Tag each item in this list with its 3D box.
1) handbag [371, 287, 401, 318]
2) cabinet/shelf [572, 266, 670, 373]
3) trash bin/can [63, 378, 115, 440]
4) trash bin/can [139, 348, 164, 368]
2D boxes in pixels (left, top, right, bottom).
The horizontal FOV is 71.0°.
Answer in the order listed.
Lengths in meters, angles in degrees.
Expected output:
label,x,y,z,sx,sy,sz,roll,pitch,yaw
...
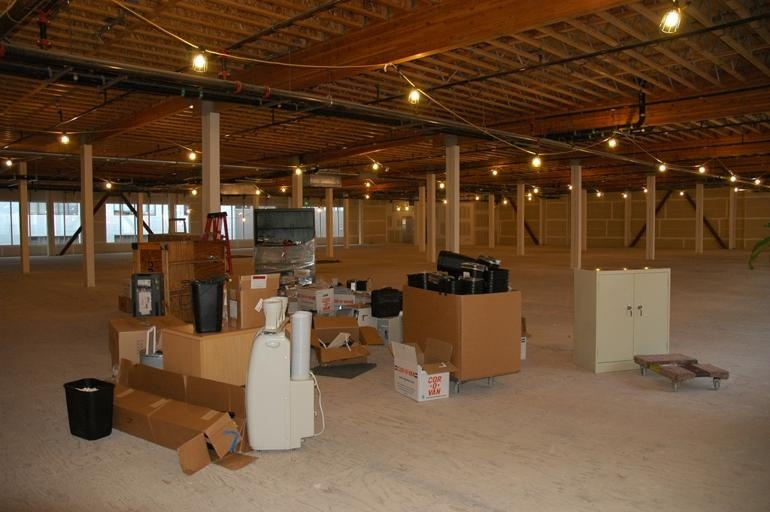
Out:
label,x,y,z,sx,sy,sz,roll,pitch,yaw
handbag,0.011,0.836,9.314,0.571,0.468,0.279,-2,13,-19
cabinet/shelf,3.595,0.956,8.217,1.376,1.478,0.442,-3,-2,-7
trash bin/can,-3.418,1.792,6.270,0.539,0.677,0.344,-3,-2,-5
trash bin/can,-3.054,1.353,7.116,0.260,0.097,0.303,1,-1,-6
